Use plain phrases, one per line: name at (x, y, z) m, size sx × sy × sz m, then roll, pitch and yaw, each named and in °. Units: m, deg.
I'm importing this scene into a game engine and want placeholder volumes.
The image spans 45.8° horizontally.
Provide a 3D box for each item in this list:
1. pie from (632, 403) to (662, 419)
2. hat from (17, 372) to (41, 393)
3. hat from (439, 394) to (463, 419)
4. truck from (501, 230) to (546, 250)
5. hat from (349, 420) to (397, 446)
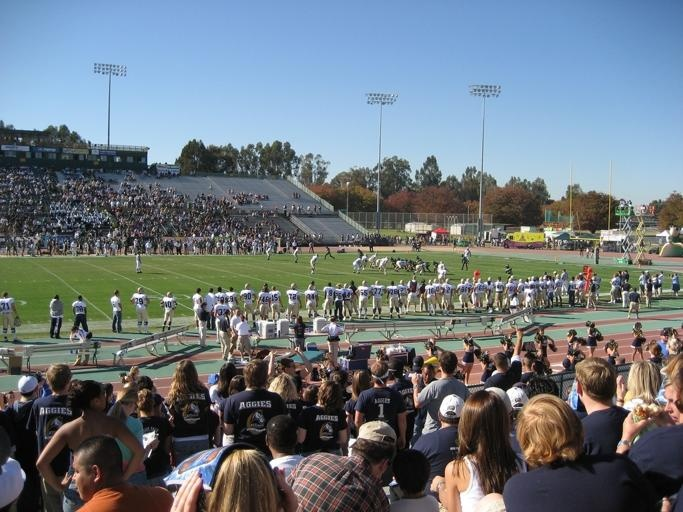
pie at (2.759, 1.393, 7.275) m, size 0.281 × 0.135 × 0.157 m, roll 0°, pitch 1°, yaw -24°
hat at (-3.486, 1.411, 8.987) m, size 0.181 × 0.189 × 0.339 m, roll 0°, pitch 1°, yaw -27°
hat at (1.098, 1.501, 8.036) m, size 0.239 × 0.226 × 0.257 m, roll 1°, pitch 1°, yaw 8°
truck at (15.695, -1.601, 69.303) m, size 3.785 × 2.028 × 1.706 m, roll 2°, pitch 0°, yaw 10°
hat at (0.310, 1.591, 7.241) m, size 0.350 × 0.199 × 0.372 m, roll 1°, pitch 1°, yaw 0°
